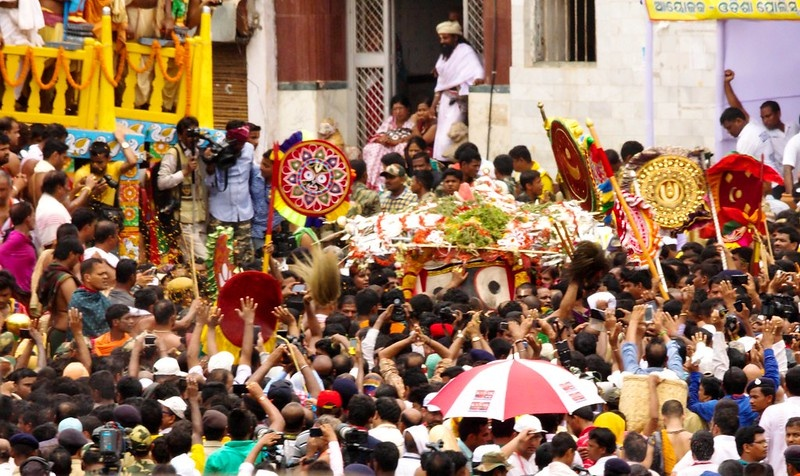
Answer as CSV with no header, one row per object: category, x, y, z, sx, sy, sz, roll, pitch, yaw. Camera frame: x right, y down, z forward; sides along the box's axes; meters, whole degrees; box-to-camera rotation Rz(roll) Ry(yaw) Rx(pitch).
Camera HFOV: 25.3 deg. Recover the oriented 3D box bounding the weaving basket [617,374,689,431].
weaving basket,2.611,1.761,18.904,0.631,0.593,0.372,0,0,-25
